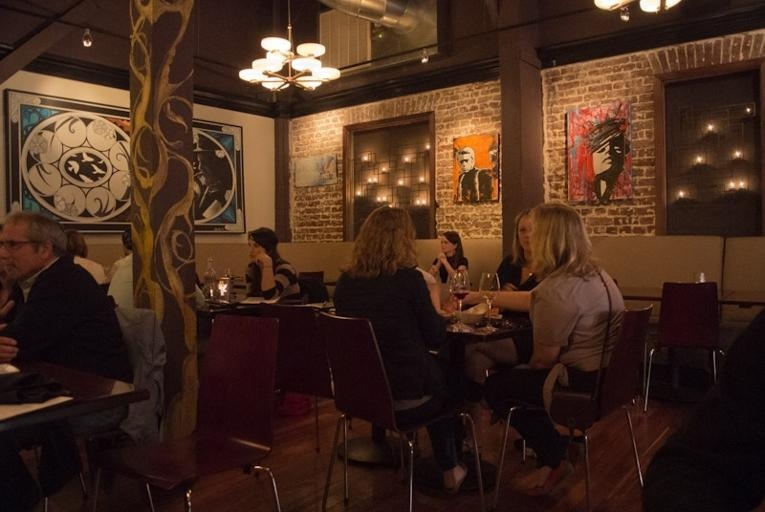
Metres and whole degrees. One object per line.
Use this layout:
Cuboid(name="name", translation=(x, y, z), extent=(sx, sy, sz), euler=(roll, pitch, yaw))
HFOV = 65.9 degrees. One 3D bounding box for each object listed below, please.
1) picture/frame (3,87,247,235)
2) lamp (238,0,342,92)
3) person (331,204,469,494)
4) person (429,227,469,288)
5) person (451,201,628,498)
Cuboid(name="picture/frame", translation=(-3.161, -1.114, 6.815), extent=(0.047, 1.429, 2.532), euler=(-6, -8, 40))
Cuboid(name="lamp", translation=(-1.244, -2.569, 7.507), extent=(1.060, 1.108, 2.728), euler=(-2, 3, -12))
Cuboid(name="person", translation=(0.058, 0.334, 3.601), extent=(0.719, 1.278, 0.478), euler=(0, 4, 9))
Cuboid(name="person", translation=(0.890, 0.182, 7.643), extent=(0.503, 1.000, 0.514), euler=(1, 0, 44))
Cuboid(name="person", translation=(1.007, 0.606, 3.846), extent=(0.771, 1.895, 0.978), euler=(-3, 4, -30))
